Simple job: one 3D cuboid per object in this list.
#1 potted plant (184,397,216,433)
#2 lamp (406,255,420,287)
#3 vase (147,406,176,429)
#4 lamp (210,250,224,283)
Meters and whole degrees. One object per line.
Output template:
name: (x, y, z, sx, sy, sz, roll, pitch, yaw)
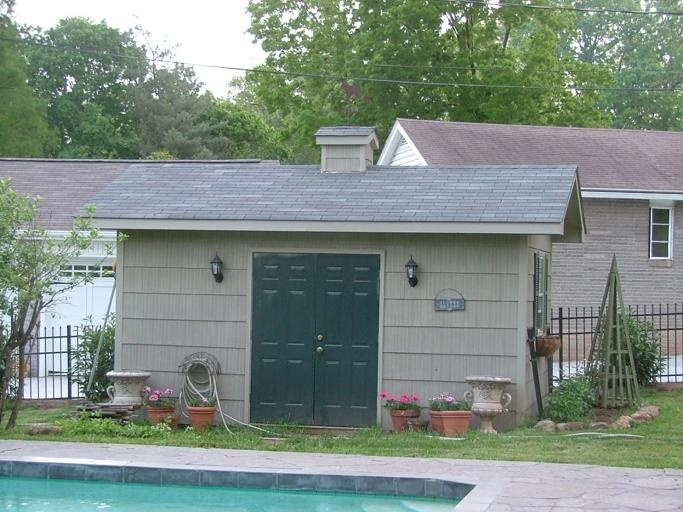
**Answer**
potted plant: (-2.978, 3.360, 25.156, 0.607, 0.474, 0.629, -1, -8, 11)
lamp: (1.479, 0.295, 25.035, 0.254, 0.635, 0.222, 0, -8, 3)
vase: (-3.844, 3.418, 25.240, 0.486, 0.360, 0.499, -3, -4, 33)
lamp: (-2.676, 0.234, 25.510, 0.261, 0.661, 0.235, 1, -8, -5)
